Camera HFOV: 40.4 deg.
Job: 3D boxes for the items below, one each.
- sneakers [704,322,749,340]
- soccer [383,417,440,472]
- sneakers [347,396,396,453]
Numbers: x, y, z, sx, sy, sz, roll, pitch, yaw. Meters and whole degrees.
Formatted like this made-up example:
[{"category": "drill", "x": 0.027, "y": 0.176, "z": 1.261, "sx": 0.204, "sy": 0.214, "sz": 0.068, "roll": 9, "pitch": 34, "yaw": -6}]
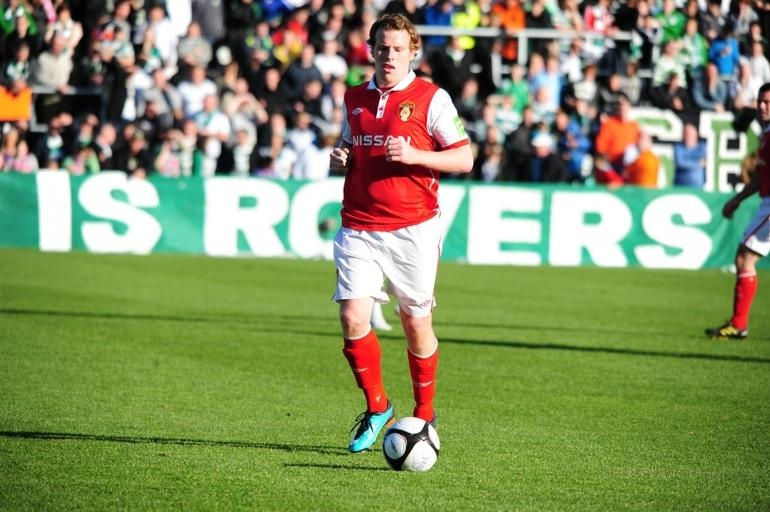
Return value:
[{"category": "sneakers", "x": 3.564, "y": 0.784, "z": 11.027, "sx": 0.456, "sy": 0.249, "sz": 0.180, "roll": 7, "pitch": -3, "yaw": 5}, {"category": "soccer", "x": 0.204, "y": 1.427, "z": 8.017, "sx": 0.341, "sy": 0.400, "sz": 0.363, "roll": 6, "pitch": -2, "yaw": -11}, {"category": "sneakers", "x": -0.108, "y": 1.318, "z": 8.352, "sx": 0.187, "sy": 0.219, "sz": 0.512, "roll": 15, "pitch": 58, "yaw": 43}]
